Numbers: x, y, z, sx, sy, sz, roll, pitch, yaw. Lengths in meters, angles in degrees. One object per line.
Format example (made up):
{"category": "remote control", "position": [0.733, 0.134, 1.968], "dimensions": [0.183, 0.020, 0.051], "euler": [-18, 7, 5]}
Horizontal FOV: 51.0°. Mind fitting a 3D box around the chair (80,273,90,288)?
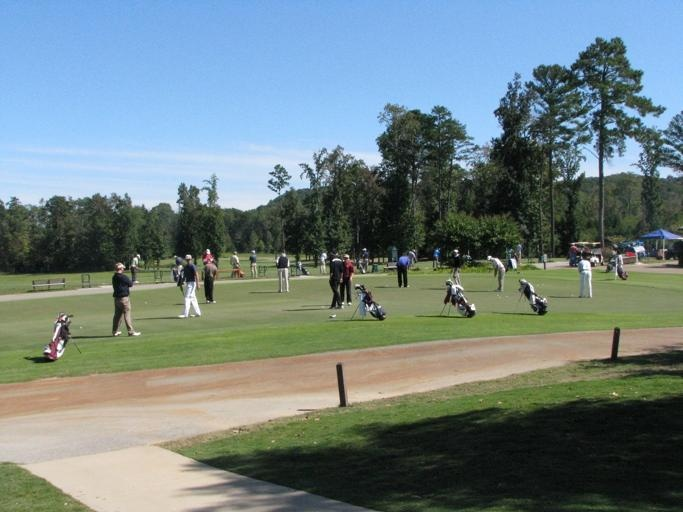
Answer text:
{"category": "chair", "position": [-22.400, 2.139, 62.422], "dimensions": [1.023, 1.582, 1.078], "euler": [0, -2, -12]}
